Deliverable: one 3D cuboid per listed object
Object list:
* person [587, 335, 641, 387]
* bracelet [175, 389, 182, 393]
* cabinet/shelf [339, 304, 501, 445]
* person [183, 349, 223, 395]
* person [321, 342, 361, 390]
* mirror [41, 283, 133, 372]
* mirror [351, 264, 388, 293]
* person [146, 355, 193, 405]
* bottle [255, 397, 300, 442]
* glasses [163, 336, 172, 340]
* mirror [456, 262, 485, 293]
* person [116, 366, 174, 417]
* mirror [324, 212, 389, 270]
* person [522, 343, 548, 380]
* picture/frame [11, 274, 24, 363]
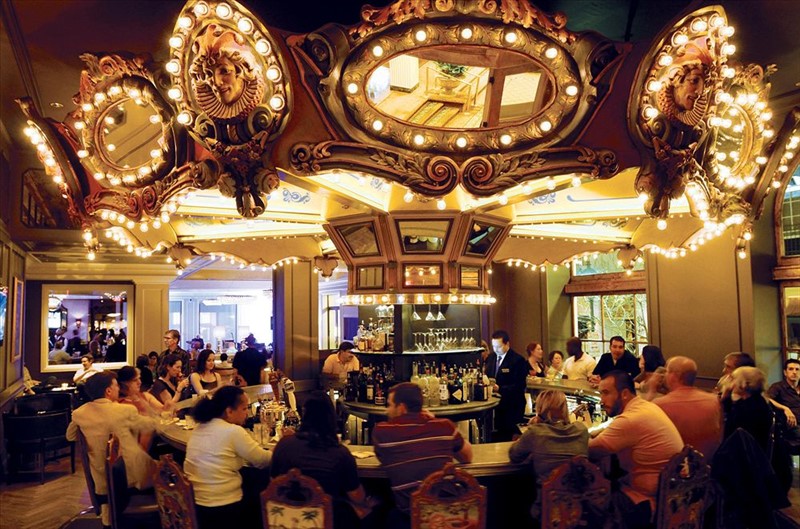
[{"bbox_3d":[3.072,1.357,9.015,0.710,0.937,0.557,-1,-10,17],"label":"person"},{"bbox_3d":[-2.752,1.563,7.830,0.070,0.022,0.069,-1,-7,7],"label":"bracelet"},{"bbox_3d":[0.160,1.545,9.235,1.868,1.764,1.817,2,2,-36],"label":"cabinet/shelf"},{"bbox_3d":[-2.533,1.545,8.275,0.414,0.791,0.397,3,-11,-31],"label":"person"},{"bbox_3d":[-0.940,1.612,9.945,0.661,0.761,0.580,8,11,27],"label":"person"},{"bbox_3d":[-7.711,1.656,15.546,2.339,1.898,0.055,0,-1,5],"label":"mirror"},{"bbox_3d":[-0.353,0.168,7.513,0.343,0.247,0.037,-2,-5,35],"label":"mirror"},{"bbox_3d":[-2.965,1.585,8.089,0.545,0.884,0.442,2,7,-23],"label":"person"},{"bbox_3d":[-1.351,1.637,6.689,0.433,0.368,0.351,-2,-4,17],"label":"bottle"},{"bbox_3d":[-3.498,1.090,9.464,0.115,0.070,0.044,-4,-8,21],"label":"glasses"},{"bbox_3d":[0.816,0.160,7.583,0.380,0.260,0.028,2,-4,-35],"label":"mirror"},{"bbox_3d":[-2.951,1.423,7.179,0.728,0.763,0.484,0,-2,-15],"label":"person"},{"bbox_3d":[-0.521,-0.277,7.515,0.884,0.568,0.294,-7,-10,38],"label":"mirror"},{"bbox_3d":[2.045,1.506,9.914,0.326,0.569,0.732,-1,-10,15],"label":"person"},{"bbox_3d":[-6.448,0.922,10.607,0.154,1.406,1.451,3,-9,-29],"label":"picture/frame"}]
